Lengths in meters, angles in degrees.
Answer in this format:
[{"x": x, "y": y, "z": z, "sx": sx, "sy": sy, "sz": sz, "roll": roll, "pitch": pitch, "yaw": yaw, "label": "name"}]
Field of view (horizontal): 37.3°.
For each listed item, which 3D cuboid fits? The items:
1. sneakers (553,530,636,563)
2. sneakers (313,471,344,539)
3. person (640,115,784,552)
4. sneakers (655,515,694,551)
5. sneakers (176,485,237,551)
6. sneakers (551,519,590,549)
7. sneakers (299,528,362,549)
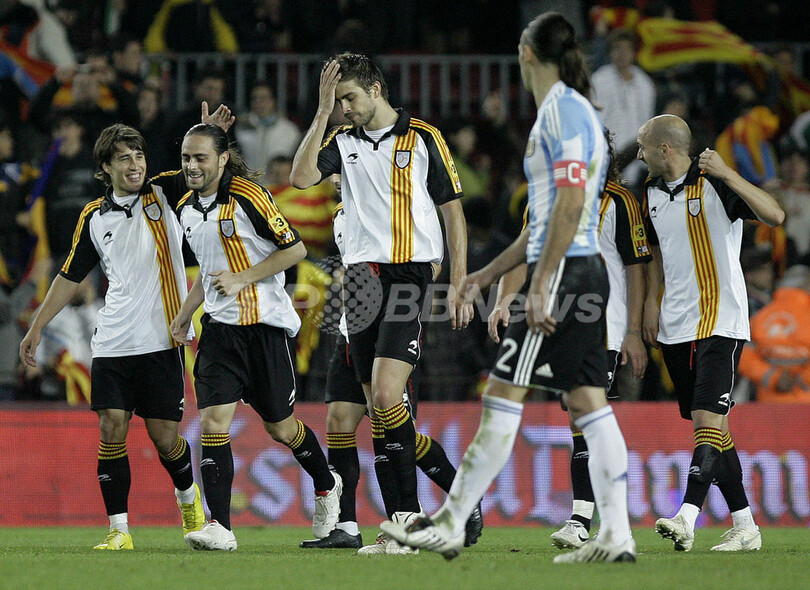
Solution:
[{"x": 1.269, "y": 1.689, "z": 8.100, "sx": 0.533, "sy": 0.258, "sz": 0.213, "roll": 0, "pitch": -15, "yaw": 7, "label": "sneakers"}, {"x": -0.604, "y": 1.705, "z": 9.666, "sx": 0.182, "sy": 0.590, "sz": 0.233, "roll": -3, "pitch": -11, "yaw": 40, "label": "sneakers"}, {"x": 2.350, "y": 0.298, "z": 9.540, "sx": 0.933, "sy": 3.508, "sz": 0.880, "roll": -1, "pitch": -1, "yaw": 12, "label": "person"}, {"x": 2.077, "y": 1.842, "z": 9.218, "sx": 0.214, "sy": 0.297, "sz": 0.370, "roll": -2, "pitch": -1, "yaw": 36, "label": "sneakers"}, {"x": -1.475, "y": 1.778, "z": 8.931, "sx": 0.162, "sy": 0.242, "sz": 0.453, "roll": -29, "pitch": -46, "yaw": 31, "label": "sneakers"}, {"x": 1.294, "y": 1.893, "z": 9.449, "sx": 0.142, "sy": 0.190, "sz": 0.338, "roll": -18, "pitch": -30, "yaw": 39, "label": "sneakers"}, {"x": -0.580, "y": 1.950, "z": 9.448, "sx": 0.474, "sy": 0.233, "sz": 0.188, "roll": 4, "pitch": -14, "yaw": -9, "label": "sneakers"}]
